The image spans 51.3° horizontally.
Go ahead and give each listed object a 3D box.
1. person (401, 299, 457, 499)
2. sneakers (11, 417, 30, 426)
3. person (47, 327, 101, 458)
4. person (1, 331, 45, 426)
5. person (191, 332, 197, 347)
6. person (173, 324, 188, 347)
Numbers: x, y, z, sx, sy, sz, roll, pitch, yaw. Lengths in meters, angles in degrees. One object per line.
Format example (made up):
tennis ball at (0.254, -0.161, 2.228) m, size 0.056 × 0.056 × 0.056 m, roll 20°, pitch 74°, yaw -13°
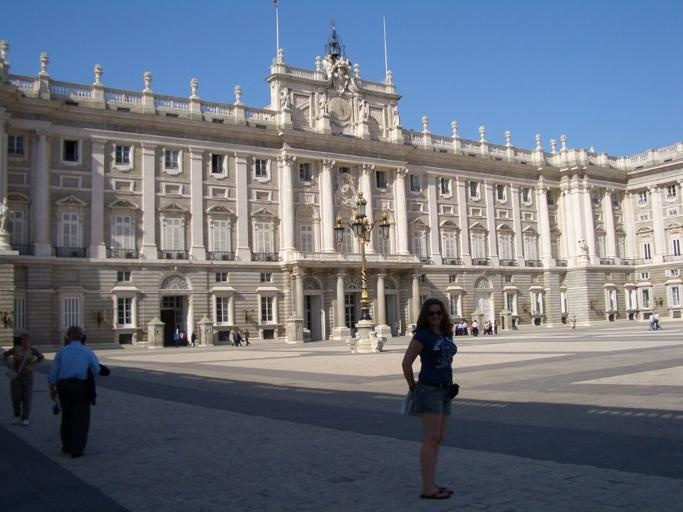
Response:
person at (1.161, 1.819, 9.165) m, size 0.721 × 2.530 × 0.331 m, roll -1°, pitch -6°, yaw -2°
sneakers at (-6.175, 3.170, 13.665) m, size 0.410 × 0.146 × 0.139 m, roll 4°, pitch -11°, yaw 13°
person at (-4.289, 2.149, 11.456) m, size 0.769 × 2.024 × 0.789 m, roll 1°, pitch -6°, yaw -21°
person at (-6.317, 2.398, 14.055) m, size 0.721 × 1.711 × 1.109 m, roll 1°, pitch -6°, yaw -23°
person at (-9.134, 5.086, 44.006) m, size 0.256 × 0.886 × 0.736 m, roll 0°, pitch -6°, yaw -15°
person at (-10.014, 4.922, 44.412) m, size 0.807 × 1.315 × 1.949 m, roll 0°, pitch -6°, yaw -14°
